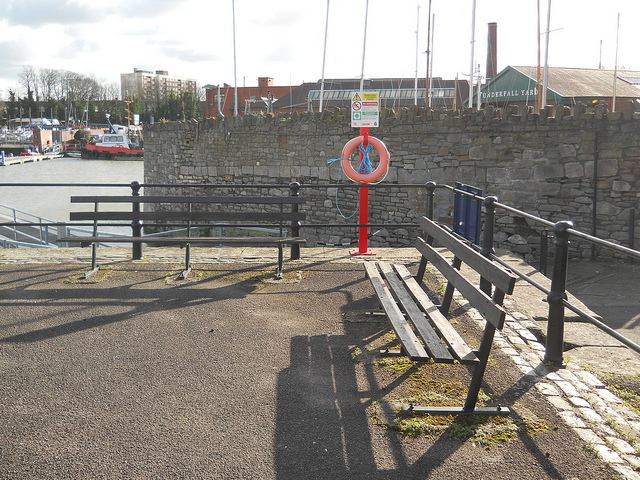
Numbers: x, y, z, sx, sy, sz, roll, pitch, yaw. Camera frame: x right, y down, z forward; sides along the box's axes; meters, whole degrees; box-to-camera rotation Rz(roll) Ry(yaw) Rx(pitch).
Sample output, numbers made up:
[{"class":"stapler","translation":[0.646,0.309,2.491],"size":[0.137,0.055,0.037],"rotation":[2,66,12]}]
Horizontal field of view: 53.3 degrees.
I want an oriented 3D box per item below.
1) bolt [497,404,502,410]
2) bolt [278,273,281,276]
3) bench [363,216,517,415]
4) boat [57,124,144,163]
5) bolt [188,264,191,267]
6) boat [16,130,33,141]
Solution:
[{"class":"bolt","translation":[1.370,1.283,4.906],"size":[0.019,0.026,0.045],"rotation":[-11,1,4]},{"class":"bolt","translation":[-0.506,0.423,7.892],"size":[0.017,0.029,0.031],"rotation":[-2,6,-8]},{"class":"bench","translation":[1.092,0.609,5.662],"size":[1.219,1.511,1.665],"rotation":[4,11,-7]},{"class":"boat","translation":[-25.555,-11.235,72.692],"size":[7.011,4.153,26.347],"rotation":[-2,7,-23]},{"class":"bolt","translation":[-1.690,0.321,8.245],"size":[0.026,0.043,0.045],"rotation":[-3,10,-11]},{"class":"boat","translation":[-41.934,-14.848,90.707],"size":[1.357,1.613,5.183],"rotation":[-1,7,-16]}]
